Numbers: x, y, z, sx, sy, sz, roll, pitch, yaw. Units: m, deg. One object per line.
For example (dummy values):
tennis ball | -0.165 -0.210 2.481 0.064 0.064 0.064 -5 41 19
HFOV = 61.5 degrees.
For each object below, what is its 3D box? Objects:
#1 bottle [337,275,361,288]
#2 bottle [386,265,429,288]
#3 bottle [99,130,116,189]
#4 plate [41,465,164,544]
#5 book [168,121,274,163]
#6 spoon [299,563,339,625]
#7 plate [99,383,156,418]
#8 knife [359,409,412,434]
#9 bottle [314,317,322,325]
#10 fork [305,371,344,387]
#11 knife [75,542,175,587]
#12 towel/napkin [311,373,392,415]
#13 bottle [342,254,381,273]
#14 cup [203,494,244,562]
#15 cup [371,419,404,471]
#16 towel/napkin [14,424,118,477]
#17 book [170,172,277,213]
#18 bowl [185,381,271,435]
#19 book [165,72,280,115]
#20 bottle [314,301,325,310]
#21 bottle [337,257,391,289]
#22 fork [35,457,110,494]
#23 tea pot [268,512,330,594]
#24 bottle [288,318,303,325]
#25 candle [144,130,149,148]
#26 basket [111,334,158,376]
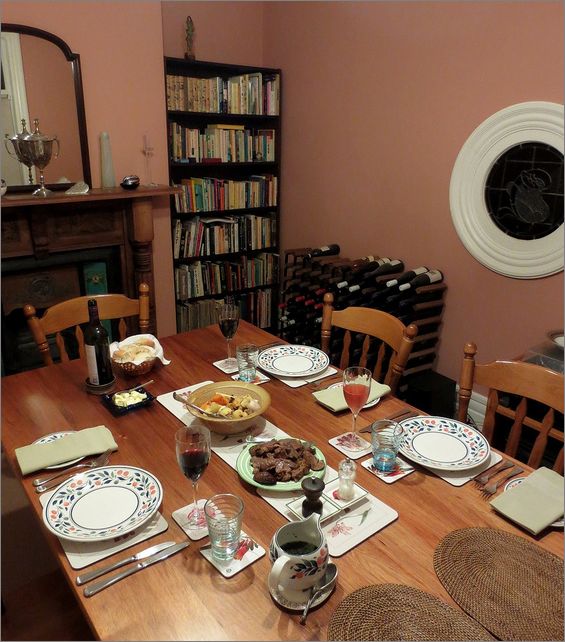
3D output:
bottle | 0.422 -0.233 2.995 0.053 0.050 0.209 21 20 31
bottle | 0.791 -0.262 3.023 0.105 0.092 0.494 18 24 42
bottle | -1.152 -1.030 3.081 0.077 0.346 0.110 -7 21 -24
plate | -0.374 0.372 0.992 0.229 0.031 0.240 -4 17 -16
book | -0.496 -1.430 3.902 0.967 0.302 0.234 -14 23 -40
spoon | 0.058 0.444 0.786 0.027 0.014 0.098 3 28 24
plate | -0.470 0.244 1.449 0.127 0.021 0.082 -19 33 -35
knife | 0.278 0.279 1.314 0.043 0.019 0.254 21 22 40
bottle | 0.224 0.003 3.123 0.039 0.015 0.050 5 22 42
fork | 0.143 0.199 1.644 0.039 0.012 0.161 31 32 35
knife | -0.276 0.426 0.872 0.199 0.009 0.045 -11 19 -42
towel/napkin | 0.209 0.228 1.489 0.180 0.023 0.103 -12 25 -30
bottle | 0.536 -0.385 3.275 0.105 0.107 0.436 18 18 40
cup | -0.108 0.368 0.861 0.064 0.123 0.080 -1 18 -6
cup | 0.249 0.306 1.152 0.086 0.109 0.090 -4 17 1
towel/napkin | -0.545 0.324 1.195 0.177 0.022 0.104 -16 32 -31
book | -0.470 -1.049 3.955 0.949 0.283 0.195 -15 24 -42
bowl | -0.151 0.229 1.317 0.165 0.059 0.156 2 25 -1
book | -0.453 -1.798 3.749 0.234 0.369 1.000 18 24 40
bottle | 0.230 -0.092 3.150 0.055 0.041 0.042 -16 27 -2
bottle | 0.519 -0.300 3.114 0.156 0.144 0.585 10 22 39
fork | -0.493 0.360 1.102 0.154 0.020 0.021 -13 33 -24
tea pot | 0.022 0.373 0.766 0.089 0.104 0.108 1 18 -1
bottle | 0.073 0.011 3.335 0.195 0.047 0.050 -1 12 -38
candle | -0.945 -1.248 3.302 0.009 0.098 0.036 19 26 41
basket | -0.520 0.121 1.663 0.136 0.061 0.141 -12 26 -24
